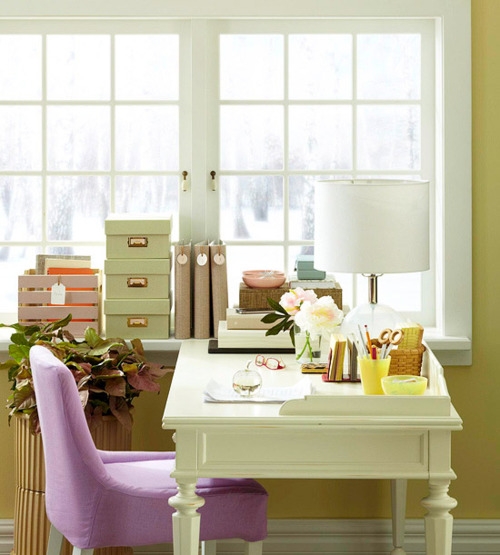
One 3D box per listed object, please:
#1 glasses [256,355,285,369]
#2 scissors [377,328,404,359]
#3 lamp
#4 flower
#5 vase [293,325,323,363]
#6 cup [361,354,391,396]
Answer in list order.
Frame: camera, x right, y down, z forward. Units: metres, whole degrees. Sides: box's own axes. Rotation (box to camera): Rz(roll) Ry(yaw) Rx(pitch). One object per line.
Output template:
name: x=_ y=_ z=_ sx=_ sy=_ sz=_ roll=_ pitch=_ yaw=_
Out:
glasses: x=0.063 y=0.254 z=2.000 sx=0.048 sy=0.017 sz=0.043 roll=24 pitch=-11 yaw=-42
scissors: x=0.343 y=0.160 z=1.719 sx=0.015 sy=0.066 sz=0.063 roll=23 pitch=3 yaw=-30
lamp: x=0.320 y=-0.056 z=1.933 sx=0.320 sy=0.449 sz=0.240 roll=-1 pitch=1 yaw=40
flower: x=0.155 y=0.135 z=1.932 sx=0.193 sy=0.165 sz=0.150 roll=-5 pitch=-21 yaw=22
vase: x=0.166 y=0.190 z=2.000 sx=0.086 sy=0.100 sz=0.083 roll=1 pitch=4 yaw=4
cup: x=0.287 y=0.231 z=1.619 sx=0.069 sy=0.089 sz=0.076 roll=0 pitch=-6 yaw=0
